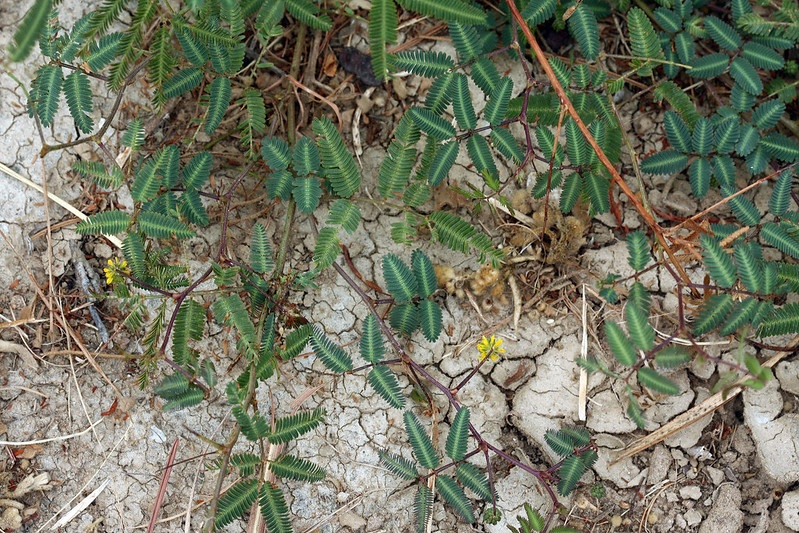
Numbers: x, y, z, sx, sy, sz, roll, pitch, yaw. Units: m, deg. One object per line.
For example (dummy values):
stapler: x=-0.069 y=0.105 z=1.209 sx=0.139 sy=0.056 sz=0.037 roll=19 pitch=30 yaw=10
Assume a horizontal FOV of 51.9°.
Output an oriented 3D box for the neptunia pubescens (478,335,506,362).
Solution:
neptunia pubescens: x=0.737 y=0.658 z=6.569 sx=0.181 sy=0.059 sz=0.219 roll=-10 pitch=102 yaw=-6
